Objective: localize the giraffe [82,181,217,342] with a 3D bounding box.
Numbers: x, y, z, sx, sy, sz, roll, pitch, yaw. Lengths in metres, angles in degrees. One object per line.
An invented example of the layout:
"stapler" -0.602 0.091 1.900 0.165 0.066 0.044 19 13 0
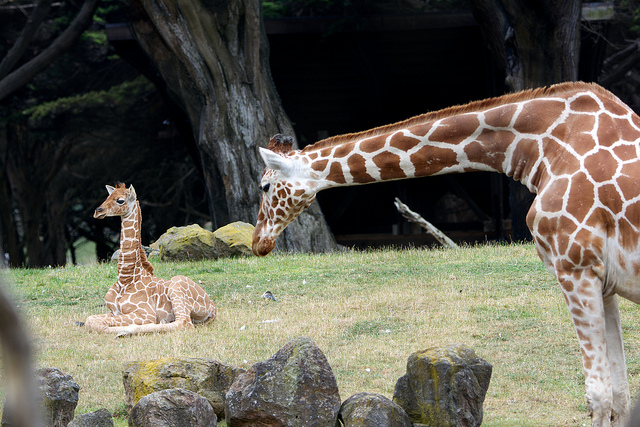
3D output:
"giraffe" -3.530 0.944 21.535 2.559 3.149 2.039 -1 -5 -20

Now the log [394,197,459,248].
"log" 2.835 0.306 27.833 1.448 1.304 1.778 -1 -2 13
